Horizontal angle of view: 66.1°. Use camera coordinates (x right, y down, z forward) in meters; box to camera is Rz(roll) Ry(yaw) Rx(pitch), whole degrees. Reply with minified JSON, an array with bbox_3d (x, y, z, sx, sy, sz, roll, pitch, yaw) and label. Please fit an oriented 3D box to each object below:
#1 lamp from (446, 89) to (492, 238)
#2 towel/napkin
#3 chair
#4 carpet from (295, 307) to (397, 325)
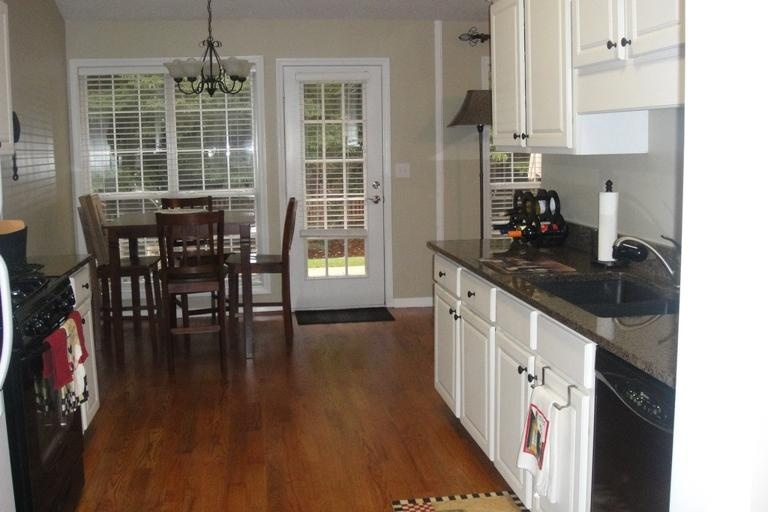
[{"bbox_3d":[0.800,-0.838,5.525,0.346,1.426,0.827,1,11,8],"label":"lamp"},{"bbox_3d":[-1.432,0.485,2.664,0.088,0.376,0.534,-1,4,-13],"label":"towel/napkin"},{"bbox_3d":[-1.529,0.108,5.525,1.401,2.179,1.320,1,6,-6],"label":"chair"},{"bbox_3d":[-0.374,0.580,5.753,0.934,0.012,0.500,-2,12,-8],"label":"carpet"}]
